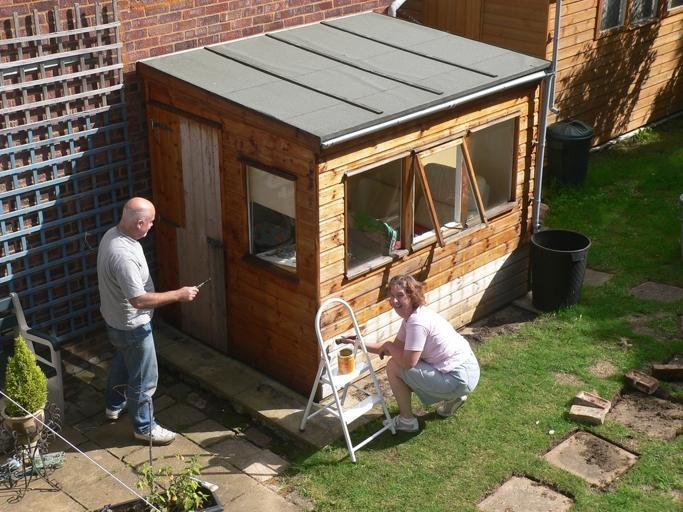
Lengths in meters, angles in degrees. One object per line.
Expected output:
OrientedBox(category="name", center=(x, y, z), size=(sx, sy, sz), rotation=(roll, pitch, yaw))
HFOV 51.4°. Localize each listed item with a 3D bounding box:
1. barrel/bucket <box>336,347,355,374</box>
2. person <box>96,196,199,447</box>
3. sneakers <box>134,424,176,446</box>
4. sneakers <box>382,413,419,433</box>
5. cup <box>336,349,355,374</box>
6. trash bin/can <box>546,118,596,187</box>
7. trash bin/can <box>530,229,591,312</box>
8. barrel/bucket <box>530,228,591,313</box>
OrientedBox(category="barrel/bucket", center=(0.043, 1.044, 7.074), size=(0.209, 0.233, 0.231), rotation=(0, 11, -1))
OrientedBox(category="person", center=(-2.049, 0.710, 7.455), size=(1.109, 2.659, 1.258), rotation=(-9, 40, -29))
OrientedBox(category="sneakers", center=(-1.826, 1.769, 7.067), size=(0.503, 0.209, 0.205), rotation=(0, 18, -4))
OrientedBox(category="sneakers", center=(0.610, 1.685, 7.089), size=(0.418, 0.176, 0.144), rotation=(6, 25, 16))
OrientedBox(category="cup", center=(-0.002, 1.056, 7.033), size=(0.208, 0.231, 0.226), rotation=(0, 10, 0))
OrientedBox(category="trash bin/can", center=(3.929, -1.785, 12.219), size=(0.878, 0.970, 0.853), rotation=(-22, 29, -29))
OrientedBox(category="trash bin/can", center=(2.752, 0.212, 9.015), size=(0.764, 0.788, 0.720), rotation=(2, 21, 13))
OrientedBox(category="barrel/bucket", center=(2.766, 0.198, 8.973), size=(0.702, 0.717, 0.650), rotation=(-7, 19, 2))
